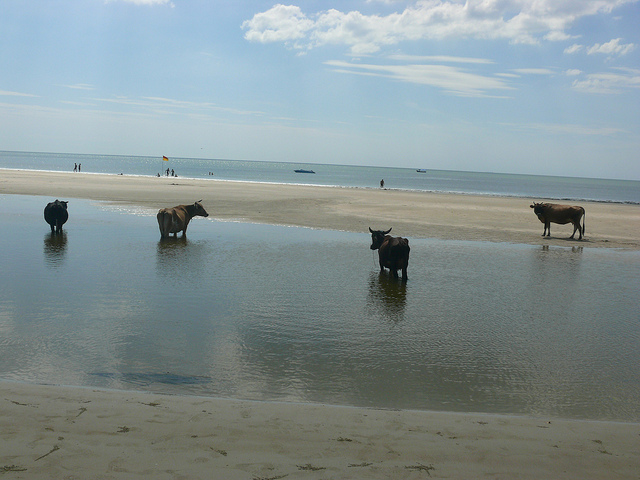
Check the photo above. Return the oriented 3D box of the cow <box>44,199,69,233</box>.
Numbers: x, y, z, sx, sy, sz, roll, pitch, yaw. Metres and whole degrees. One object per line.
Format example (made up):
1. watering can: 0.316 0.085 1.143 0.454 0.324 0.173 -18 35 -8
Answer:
1. cow: -9.307 -0.881 22.897 0.663 1.077 1.511 21 10 -20

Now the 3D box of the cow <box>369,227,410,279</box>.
1. cow: 2.024 0.443 18.860 0.871 1.557 2.381 1 6 -15

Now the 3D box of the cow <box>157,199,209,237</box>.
1. cow: -5.044 -0.692 23.429 0.713 1.374 2.174 8 13 32
